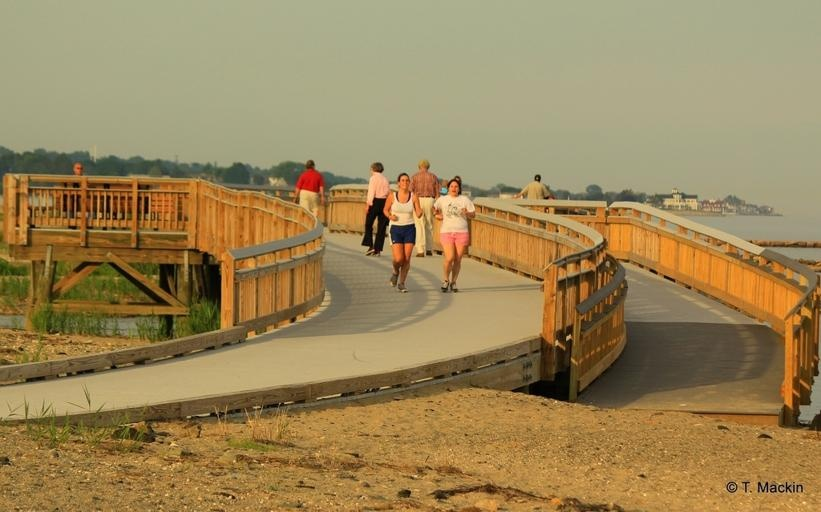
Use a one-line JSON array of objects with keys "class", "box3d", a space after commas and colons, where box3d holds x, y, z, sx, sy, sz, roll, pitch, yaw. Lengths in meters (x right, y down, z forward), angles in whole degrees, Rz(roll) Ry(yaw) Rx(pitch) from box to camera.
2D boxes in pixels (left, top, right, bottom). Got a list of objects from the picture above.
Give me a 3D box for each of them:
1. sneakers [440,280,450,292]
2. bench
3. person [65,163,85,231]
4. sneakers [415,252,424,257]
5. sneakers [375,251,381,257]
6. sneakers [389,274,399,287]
[{"class": "sneakers", "box3d": [0.728, 0.582, 30.914, 0.214, 0.247, 0.642, 0, -3, 6]}, {"class": "bench", "box3d": [-7.844, -1.392, 38.058, 1.501, 0.666, 1.550, 0, 1, 35]}, {"class": "person", "box3d": [-8.457, -1.676, 38.327, 0.485, 1.383, 0.371, -3, 1, -21]}, {"class": "sneakers", "box3d": [0.234, -0.077, 35.914, 0.073, 0.130, 0.191, -3, 9, -40]}, {"class": "sneakers", "box3d": [-0.763, -0.087, 35.785, 0.172, 0.098, 0.175, 0, 6, -8]}, {"class": "sneakers", "box3d": [-0.334, 0.484, 31.057, 0.216, 0.237, 0.599, 4, 5, -1]}]
